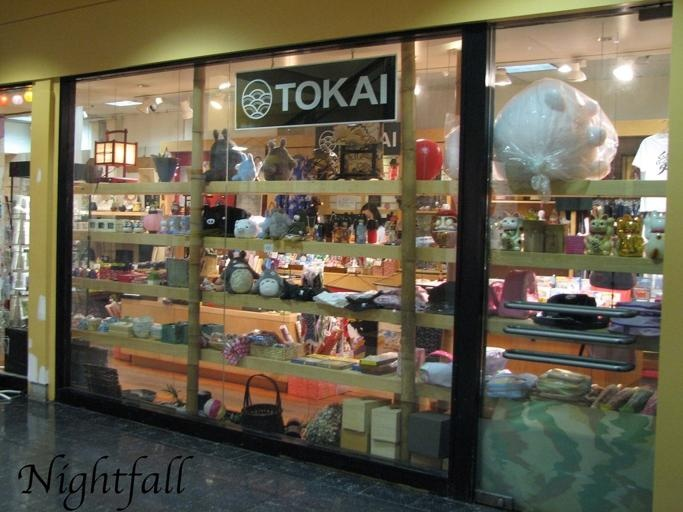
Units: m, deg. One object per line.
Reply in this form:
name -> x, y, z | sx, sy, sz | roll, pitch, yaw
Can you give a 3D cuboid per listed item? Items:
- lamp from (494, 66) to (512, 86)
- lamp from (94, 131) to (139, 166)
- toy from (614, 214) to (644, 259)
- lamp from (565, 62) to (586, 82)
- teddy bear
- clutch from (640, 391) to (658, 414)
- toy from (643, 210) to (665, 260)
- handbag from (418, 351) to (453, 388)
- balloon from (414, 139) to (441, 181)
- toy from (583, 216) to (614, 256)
lamp -> 1.010, -1.120, 3.492 | 0.119, 0.090, 0.121 | 5, 11, 29
lamp -> -2.014, -0.971, 5.036 | 0.354, 0.303, 0.220 | 9, 8, 42
toy -> 1.679, -0.118, 3.287 | 0.159, 0.238, 0.053 | 5, 10, 23
lamp -> 1.417, -1.106, 3.405 | 0.124, 0.095, 0.119 | 2, 4, 26
teddy bear -> 1.318, -0.759, 3.421 | 0.681, 0.535, 0.403 | 7, 50, 53
clutch -> 1.765, 0.849, 3.235 | 0.070, 0.145, 0.011 | 8, 12, 39
toy -> 1.779, -0.112, 3.220 | 0.114, 0.283, 0.084 | 5, 10, 25
handbag -> 0.636, 0.772, 3.729 | 0.249, 0.167, 0.089 | 4, 4, 42
balloon -> 0.583, -0.651, 3.814 | 0.268, 0.275, 0.254 | 0, -2, 9
toy -> 1.544, -0.120, 3.360 | 0.153, 0.231, 0.040 | 4, 10, 20
